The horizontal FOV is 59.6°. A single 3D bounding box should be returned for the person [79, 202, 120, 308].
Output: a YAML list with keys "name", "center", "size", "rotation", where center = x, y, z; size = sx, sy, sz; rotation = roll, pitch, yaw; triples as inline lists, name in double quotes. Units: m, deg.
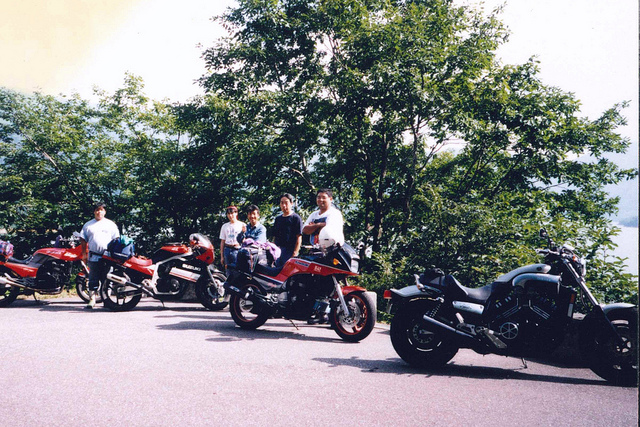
- name: "person"
  center: [-5.443, 1.023, 13.789]
  size: [1.136, 2.463, 0.757]
  rotation: [-2, 5, -26]

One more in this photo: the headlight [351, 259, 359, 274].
- name: "headlight"
  center: [0.690, 1.037, 10.919]
  size: [0.230, 0.280, 0.073]
  rotation: [-8, 16, -39]

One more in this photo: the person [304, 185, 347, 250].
- name: "person"
  center: [0.099, 0.112, 11.323]
  size: [0.796, 1.117, 1.266]
  rotation: [1, 11, -2]

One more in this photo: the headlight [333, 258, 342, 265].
- name: "headlight"
  center: [0.343, 0.942, 10.817]
  size: [0.136, 0.123, 0.071]
  rotation: [-6, 31, -14]

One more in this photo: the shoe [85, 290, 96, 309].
- name: "shoe"
  center: [-5.627, 2.076, 13.625]
  size: [0.170, 0.424, 0.323]
  rotation: [1, 12, -5]

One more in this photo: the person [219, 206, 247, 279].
- name: "person"
  center: [-2.030, 0.697, 13.557]
  size: [0.686, 1.681, 0.705]
  rotation: [3, -2, -19]

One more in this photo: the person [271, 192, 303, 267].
- name: "person"
  center: [-0.783, 0.741, 12.626]
  size: [0.865, 2.223, 0.573]
  rotation: [1, -1, 35]

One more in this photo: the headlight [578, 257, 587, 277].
- name: "headlight"
  center: [4.432, 0.918, 9.437]
  size: [0.140, 0.321, 0.185]
  rotation: [-2, -3, -12]

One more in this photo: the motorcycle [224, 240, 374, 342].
- name: "motorcycle"
  center: [-0.390, 1.524, 11.507]
  size: [3.421, 1.861, 1.442]
  rotation: [1, -13, 29]
